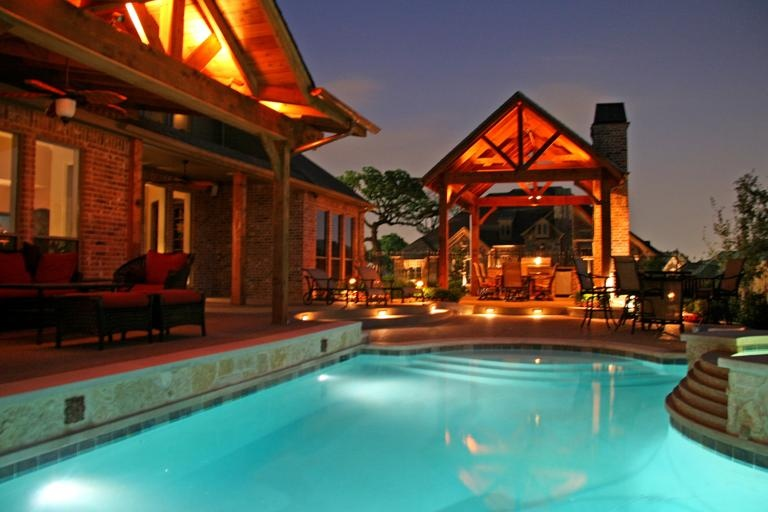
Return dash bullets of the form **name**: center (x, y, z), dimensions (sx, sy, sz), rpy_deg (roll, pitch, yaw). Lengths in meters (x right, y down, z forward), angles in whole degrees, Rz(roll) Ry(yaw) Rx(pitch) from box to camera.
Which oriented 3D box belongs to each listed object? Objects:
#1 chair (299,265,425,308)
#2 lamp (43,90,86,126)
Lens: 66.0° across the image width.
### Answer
- **chair**: center (-0.943, 0.917, 15.841), dimensions (2.464, 0.713, 1.414), rpy_deg (-5, -5, 26)
- **lamp**: center (-4.747, -2.228, 8.832), dimensions (0.440, 0.412, 0.567), rpy_deg (-6, 11, -29)
